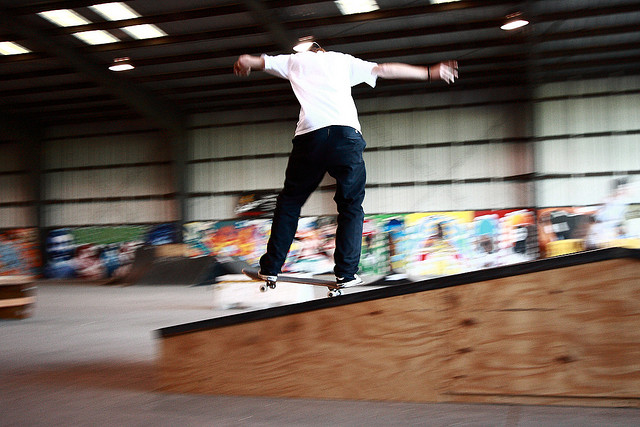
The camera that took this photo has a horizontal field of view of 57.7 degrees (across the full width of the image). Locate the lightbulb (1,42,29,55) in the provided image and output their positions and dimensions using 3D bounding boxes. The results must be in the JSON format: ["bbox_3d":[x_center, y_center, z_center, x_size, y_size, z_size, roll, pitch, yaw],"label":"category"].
[{"bbox_3d":[-7.589,-4.020,14.096,0.653,0.169,0.589,-3,6,6],"label":"lightbulb"}]

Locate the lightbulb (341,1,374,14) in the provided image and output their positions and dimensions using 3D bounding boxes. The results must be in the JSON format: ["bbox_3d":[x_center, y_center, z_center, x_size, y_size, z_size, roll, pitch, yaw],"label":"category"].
[{"bbox_3d":[0.826,-4.436,12.448,0.664,0.205,0.389,-4,7,-2],"label":"lightbulb"}]

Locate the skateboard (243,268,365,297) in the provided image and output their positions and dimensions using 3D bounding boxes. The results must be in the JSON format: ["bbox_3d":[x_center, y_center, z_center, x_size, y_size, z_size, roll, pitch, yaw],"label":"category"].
[{"bbox_3d":[-0.440,0.594,4.994,1.611,0.132,0.278,2,1,7],"label":"skateboard"}]
